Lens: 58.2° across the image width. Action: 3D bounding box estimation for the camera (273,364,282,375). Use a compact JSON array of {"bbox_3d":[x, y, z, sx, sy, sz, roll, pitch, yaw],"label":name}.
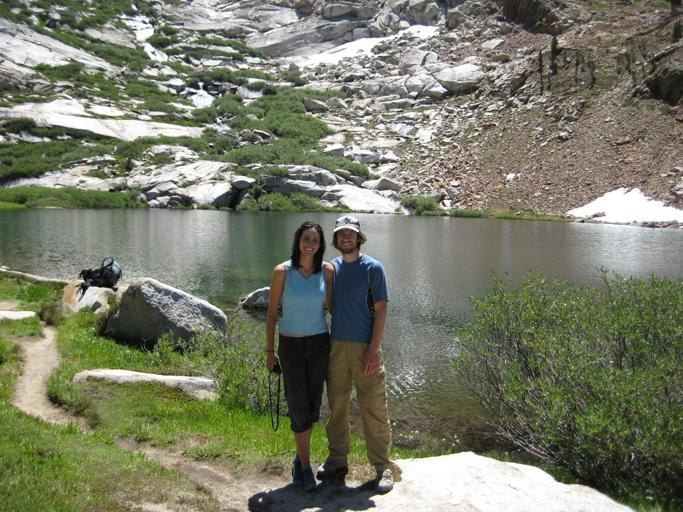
[{"bbox_3d":[-1.861,3.238,17.640,0.097,0.289,0.207,-10,19,-41],"label":"camera"}]
